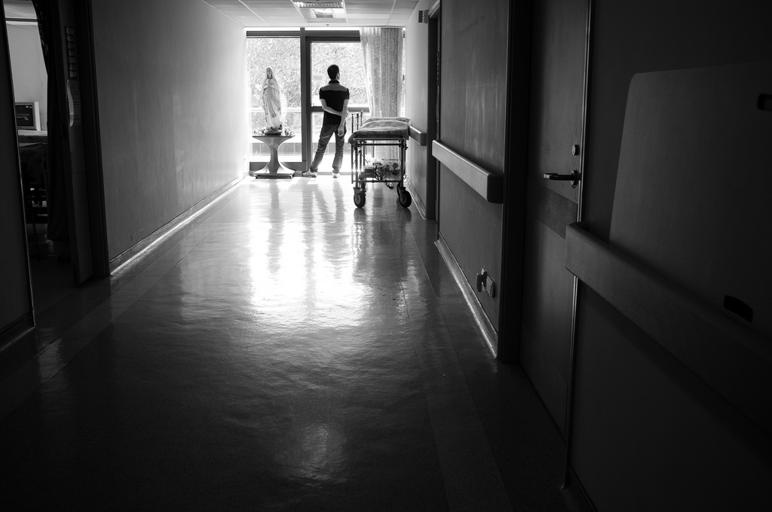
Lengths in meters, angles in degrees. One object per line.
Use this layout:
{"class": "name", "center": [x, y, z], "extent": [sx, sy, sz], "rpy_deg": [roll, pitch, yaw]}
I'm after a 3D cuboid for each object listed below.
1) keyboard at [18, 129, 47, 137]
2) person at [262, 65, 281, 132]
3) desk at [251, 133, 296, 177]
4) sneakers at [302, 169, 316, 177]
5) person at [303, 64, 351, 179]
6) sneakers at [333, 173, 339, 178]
{"class": "keyboard", "center": [-3.190, -1.103, 4.595], "extent": [0.209, 0.072, 0.065], "rpy_deg": [-4, 18, -18]}
{"class": "person", "center": [-2.462, -3.373, 11.033], "extent": [0.423, 1.319, 0.695], "rpy_deg": [-3, 17, -13]}
{"class": "desk", "center": [-2.489, -2.279, 11.431], "extent": [0.907, 0.910, 0.959], "rpy_deg": [2, 16, 2]}
{"class": "sneakers", "center": [-1.694, -1.850, 11.321], "extent": [0.375, 0.131, 0.153], "rpy_deg": [1, -1, 2]}
{"class": "person", "center": [-1.188, -2.825, 10.784], "extent": [0.689, 2.347, 0.833], "rpy_deg": [-7, 19, -25]}
{"class": "sneakers", "center": [-1.112, -1.797, 11.307], "extent": [0.146, 0.084, 0.144], "rpy_deg": [1, -13, -11]}
